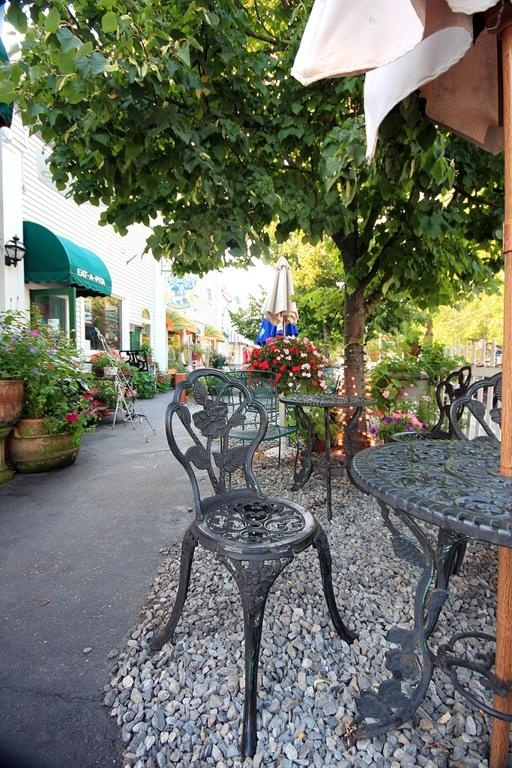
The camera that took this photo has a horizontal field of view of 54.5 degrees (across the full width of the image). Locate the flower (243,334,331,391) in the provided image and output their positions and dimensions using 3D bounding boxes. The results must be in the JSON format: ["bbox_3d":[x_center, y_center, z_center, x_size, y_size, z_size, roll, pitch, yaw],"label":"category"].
[{"bbox_3d":[0.301,-0.213,5.153,0.594,0.624,0.620,8,6,38],"label":"flower"}]

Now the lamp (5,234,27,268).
[{"bbox_3d":[-2.817,-1.524,5.807,0.193,0.258,0.504,-7,5,-14],"label":"lamp"}]
